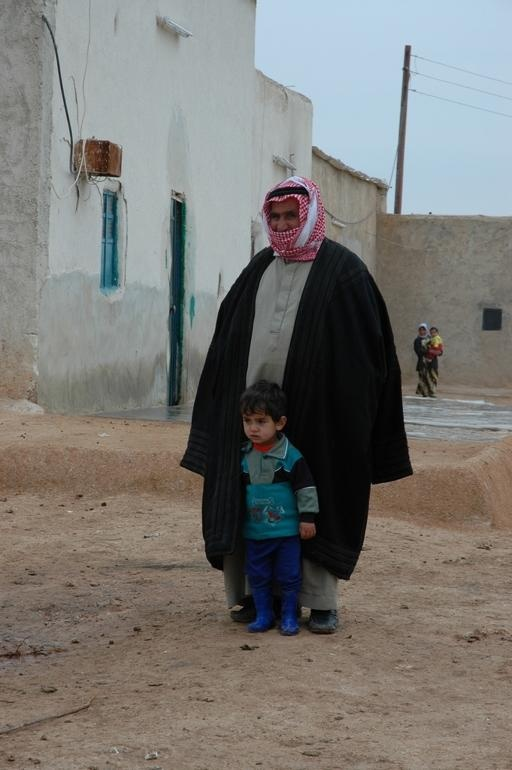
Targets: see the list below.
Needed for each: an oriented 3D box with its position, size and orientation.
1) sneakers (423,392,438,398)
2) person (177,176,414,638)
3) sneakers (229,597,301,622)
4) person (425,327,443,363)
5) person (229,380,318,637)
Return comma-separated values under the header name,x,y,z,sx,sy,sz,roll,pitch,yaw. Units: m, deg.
name,x,y,z,sx,sy,sz,roll,pitch,yaw
sneakers,2.597,0.142,16.394,0.101,0.083,0.166,-1,0,-21
person,0.103,0.058,3.868,0.746,1.548,0.360,3,10,13
sneakers,0.031,0.799,4.006,0.094,0.137,0.292,-8,-13,33
person,2.674,-0.644,16.704,0.237,0.446,0.760,3,5,8
person,0.072,0.411,3.709,0.269,0.855,0.258,2,5,5
